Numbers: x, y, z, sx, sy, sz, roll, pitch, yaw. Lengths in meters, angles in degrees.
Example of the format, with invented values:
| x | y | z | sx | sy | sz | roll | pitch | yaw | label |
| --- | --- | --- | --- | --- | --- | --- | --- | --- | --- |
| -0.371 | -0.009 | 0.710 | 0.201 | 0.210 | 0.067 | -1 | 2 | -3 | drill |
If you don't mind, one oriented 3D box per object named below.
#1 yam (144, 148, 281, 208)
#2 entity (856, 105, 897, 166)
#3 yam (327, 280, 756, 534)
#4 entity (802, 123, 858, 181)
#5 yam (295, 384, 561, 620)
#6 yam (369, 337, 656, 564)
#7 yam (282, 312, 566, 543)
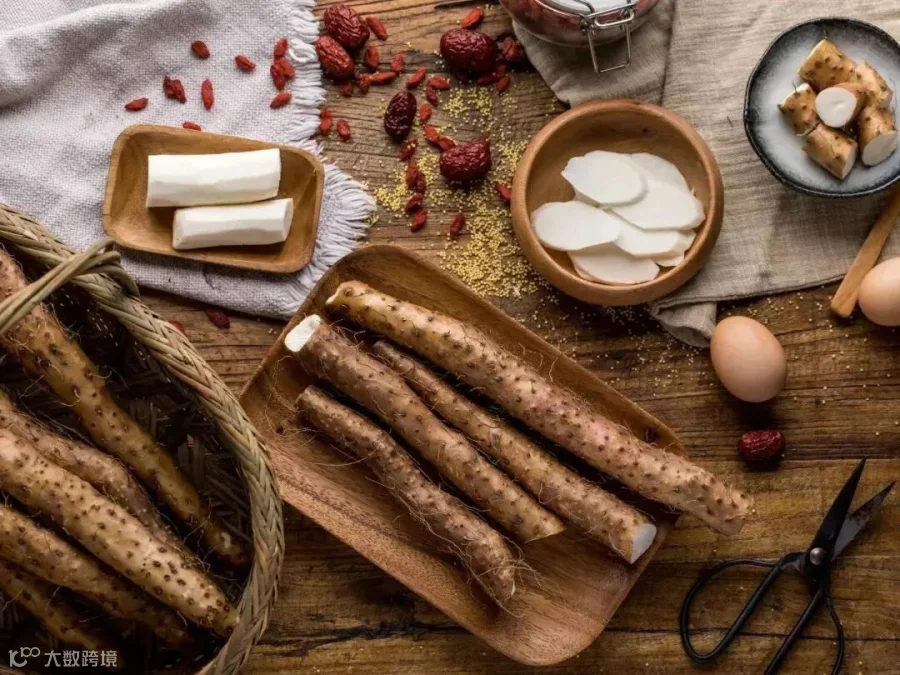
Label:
| x | y | z | sx | sy | sz | roll | pitch | yaw | label |
| --- | --- | --- | --- | --- | --- | --- | --- | --- | --- |
| -0.584 | -0.394 | 2.284 | 0.368 | 0.104 | 0.107 | -3 | 94 | -1 | yam |
| 1.001 | -0.473 | 2.120 | 0.099 | 0.127 | 0.049 | -9 | 31 | 9 | entity |
| 0.205 | 0.104 | 2.217 | 1.431 | 0.192 | 0.173 | 29 | 86 | 36 | yam |
| 0.914 | -0.452 | 2.166 | 0.085 | 0.107 | 0.144 | -45 | 70 | 3 | entity |
| -0.031 | 0.368 | 2.163 | 0.895 | 0.141 | 0.164 | 33 | 48 | -1 | yam |
| 0.140 | 0.204 | 2.381 | 0.246 | 0.158 | 1.180 | -24 | 36 | -13 | yam |
| -0.061 | 0.214 | 2.149 | 0.904 | 0.148 | 0.156 | 30 | 63 | 1 | yam |
